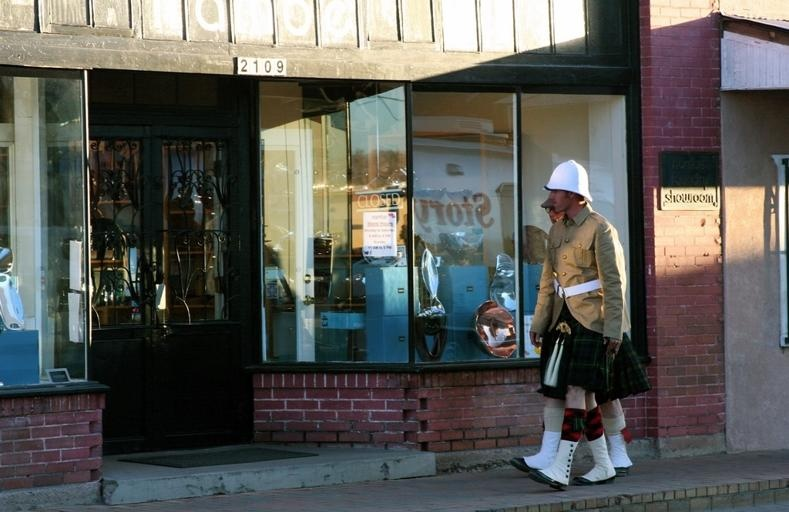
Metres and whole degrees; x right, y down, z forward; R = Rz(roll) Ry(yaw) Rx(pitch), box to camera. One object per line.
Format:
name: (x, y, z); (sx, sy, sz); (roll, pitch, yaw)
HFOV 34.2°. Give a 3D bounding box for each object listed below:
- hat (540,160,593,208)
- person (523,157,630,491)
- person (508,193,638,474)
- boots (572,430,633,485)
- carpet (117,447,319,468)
hat: (1.395, -0.735, 12.521); (0.372, 0.481, 0.924); (1, -1, -2)
person: (1.729, 0.657, 12.408); (1.416, 3.095, 1.125); (4, -5, -35)
person: (1.826, 0.649, 12.533); (1.489, 2.965, 0.936); (0, -3, 0)
boots: (2.073, 2.023, 12.604); (0.814, 0.511, 0.297); (-1, -6, -36)
carpet: (-1.814, 2.059, 13.121); (1.845, 0.043, 0.968); (-4, 3, -19)
